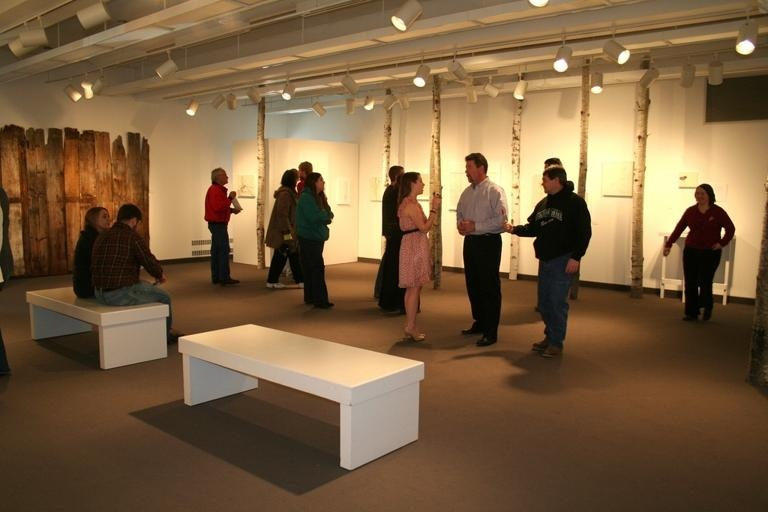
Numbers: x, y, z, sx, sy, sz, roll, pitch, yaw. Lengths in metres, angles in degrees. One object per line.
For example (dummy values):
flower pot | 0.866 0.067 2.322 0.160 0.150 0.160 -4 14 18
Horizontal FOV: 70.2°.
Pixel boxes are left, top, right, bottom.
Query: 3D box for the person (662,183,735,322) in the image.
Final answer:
person | 4.930 -0.053 8.569 0.776 2.076 0.731 -6 13 -29

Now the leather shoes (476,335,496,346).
leather shoes | 1.343 1.117 7.142 0.275 0.109 0.107 4 -4 -30

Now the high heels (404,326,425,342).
high heels | 0.420 1.046 7.279 0.272 0.176 0.151 -1 4 3

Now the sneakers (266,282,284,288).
sneakers | -2.065 0.559 10.406 0.313 0.118 0.120 -1 5 -2

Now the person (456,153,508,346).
person | 1.249 -0.066 7.073 0.682 2.426 0.491 6 13 28

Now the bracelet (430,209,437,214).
bracelet | 0.644 -0.559 6.998 0.064 0.058 0.063 2 1 4

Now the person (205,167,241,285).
person | -3.183 -0.547 10.622 0.489 2.190 0.537 -4 12 -18

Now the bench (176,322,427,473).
bench | -0.761 1.279 5.169 2.167 0.760 0.817 6 13 27

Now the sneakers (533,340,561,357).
sneakers | 2.111 1.175 6.844 0.410 0.162 0.134 5 4 -11

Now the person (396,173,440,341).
person | 0.447 0.042 7.130 0.511 2.204 0.420 0 12 1

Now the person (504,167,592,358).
person | 2.132 0.096 6.628 0.408 2.300 0.667 -10 16 -42
